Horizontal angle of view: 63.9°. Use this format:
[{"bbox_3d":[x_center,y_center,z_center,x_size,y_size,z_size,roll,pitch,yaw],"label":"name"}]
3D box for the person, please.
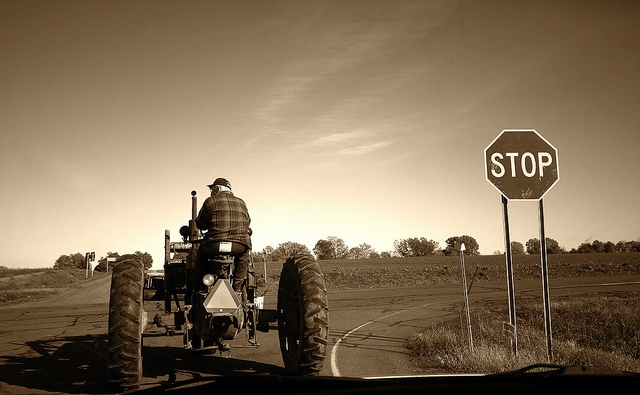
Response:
[{"bbox_3d":[-2.722,1.034,14.438,1.533,3.079,0.809,4,-13,-14],"label":"person"}]
